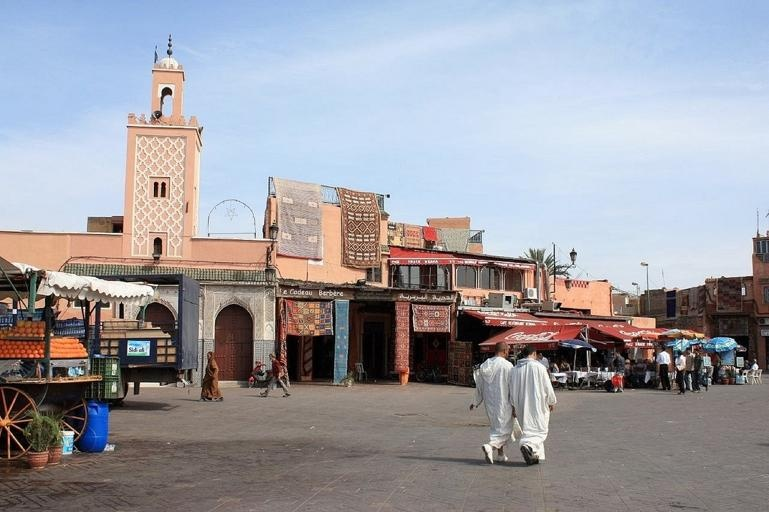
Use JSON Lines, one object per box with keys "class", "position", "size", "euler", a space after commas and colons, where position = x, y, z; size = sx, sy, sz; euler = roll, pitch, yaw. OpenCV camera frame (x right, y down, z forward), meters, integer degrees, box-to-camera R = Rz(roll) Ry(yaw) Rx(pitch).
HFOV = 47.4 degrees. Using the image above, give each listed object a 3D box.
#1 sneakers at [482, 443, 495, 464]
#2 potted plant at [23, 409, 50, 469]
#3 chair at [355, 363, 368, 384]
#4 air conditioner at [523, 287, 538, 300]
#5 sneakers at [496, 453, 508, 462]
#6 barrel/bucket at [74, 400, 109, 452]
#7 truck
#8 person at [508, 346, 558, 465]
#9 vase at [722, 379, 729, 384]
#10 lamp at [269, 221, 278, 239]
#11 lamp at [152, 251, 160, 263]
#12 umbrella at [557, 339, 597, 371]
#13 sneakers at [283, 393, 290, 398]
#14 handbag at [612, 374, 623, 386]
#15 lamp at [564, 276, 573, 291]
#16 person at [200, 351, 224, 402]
{"class": "sneakers", "position": [1.921, 3.617, 16.033], "size": [0.203, 0.451, 0.158], "euler": [-17, 6, -14]}
{"class": "potted plant", "position": [-6.222, 3.254, 15.609], "size": [0.528, 0.964, 0.512], "euler": [-10, -11, 23]}
{"class": "chair", "position": [-0.964, 5.035, 37.592], "size": [0.673, 1.010, 0.600], "euler": [-4, -5, 38]}
{"class": "air conditioner", "position": [7.054, 1.884, 42.146], "size": [0.495, 0.606, 0.857], "euler": [-5, -8, 30]}
{"class": "sneakers", "position": [2.203, 3.787, 16.326], "size": [0.115, 0.107, 0.265], "euler": [0, -1, 20]}
{"class": "barrel/bucket", "position": [-5.776, 3.313, 17.086], "size": [0.650, 0.937, 0.629], "euler": [-2, -10, 0]}
{"class": "truck", "position": [-7.969, 2.180, 24.845], "size": [5.358, 3.671, 3.216], "euler": [0, -2, 2]}
{"class": "person", "position": [2.779, 2.793, 16.355], "size": [0.796, 2.148, 0.648], "euler": [0, -8, -8]}
{"class": "vase", "position": [15.266, 5.639, 39.014], "size": [0.228, 0.162, 0.222], "euler": [0, -11, 3]}
{"class": "lamp", "position": [-4.439, -1.033, 35.021], "size": [0.356, 0.820, 1.441], "euler": [0, -8, -7]}
{"class": "lamp", "position": [-8.903, 0.072, 33.949], "size": [0.437, 0.303, 0.359], "euler": [0, -8, -11]}
{"class": "umbrella", "position": [7.188, 3.513, 33.391], "size": [1.761, 1.251, 2.037], "euler": [1, -4, 17]}
{"class": "sneakers", "position": [-3.186, 4.517, 28.174], "size": [0.264, 0.172, 0.096], "euler": [4, 22, 28]}
{"class": "handbag", "position": [8.909, 4.782, 33.377], "size": [0.473, 0.658, 0.390], "euler": [0, -8, 4]}
{"class": "lamp", "position": [9.684, 1.465, 45.916], "size": [0.219, 0.569, 0.687], "euler": [-7, -11, 39]}
{"class": "person", "position": [-5.251, 3.656, 26.527], "size": [0.634, 1.479, 1.192], "euler": [1, -8, -11]}
